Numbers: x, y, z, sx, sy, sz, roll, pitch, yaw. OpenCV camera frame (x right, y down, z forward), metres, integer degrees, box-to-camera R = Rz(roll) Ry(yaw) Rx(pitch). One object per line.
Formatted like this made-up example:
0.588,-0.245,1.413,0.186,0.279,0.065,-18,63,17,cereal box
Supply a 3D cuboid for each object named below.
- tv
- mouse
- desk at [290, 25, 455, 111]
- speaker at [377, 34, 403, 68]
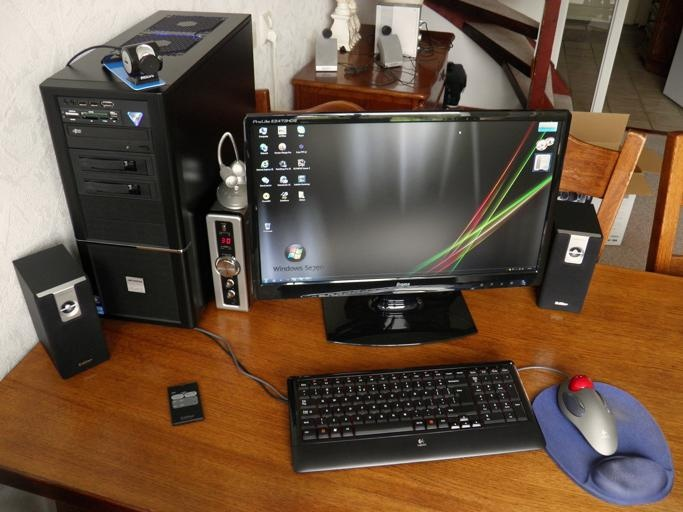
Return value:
0.157,-0.078,1.289,0.776,0.512,0.280,-3,27,-13,tv
0.542,0.329,1.168,0.113,0.058,0.206,-5,37,3,mouse
0.214,-1.061,3.037,0.688,0.247,1.019,9,34,14,desk
0.269,-1.115,2.901,0.122,0.151,0.084,-20,46,-23,speaker
